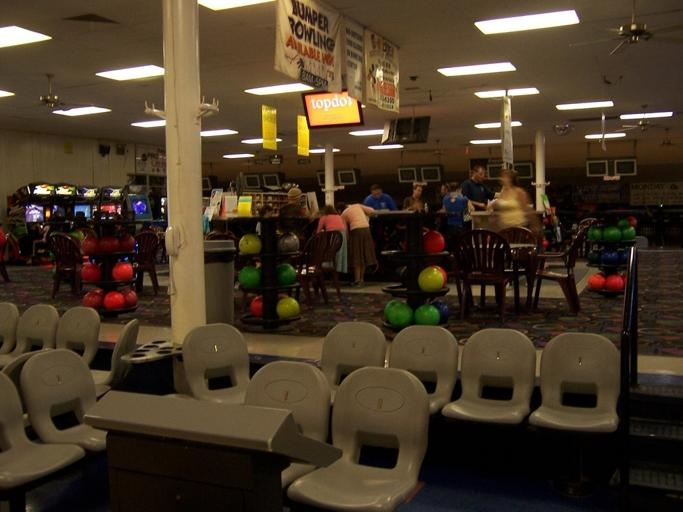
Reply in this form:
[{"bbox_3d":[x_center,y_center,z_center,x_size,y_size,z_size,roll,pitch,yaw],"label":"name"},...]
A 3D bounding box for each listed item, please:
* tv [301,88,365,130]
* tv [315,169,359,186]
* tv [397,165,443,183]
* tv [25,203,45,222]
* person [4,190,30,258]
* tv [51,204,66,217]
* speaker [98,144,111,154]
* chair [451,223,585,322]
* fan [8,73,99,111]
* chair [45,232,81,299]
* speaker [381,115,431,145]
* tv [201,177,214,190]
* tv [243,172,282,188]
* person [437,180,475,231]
[{"bbox_3d":[-0.156,-2.561,9.189,0.476,0.679,1.260,-10,12,-42],"label":"tv"},{"bbox_3d":[-0.127,-3.119,21.108,1.620,0.621,0.920,4,11,35],"label":"tv"},{"bbox_3d":[2.863,-3.051,19.657,1.500,0.583,0.849,-1,9,10],"label":"tv"},{"bbox_3d":[-8.085,-1.159,14.211,0.462,0.482,0.379,-5,9,-15],"label":"tv"},{"bbox_3d":[-8.728,-0.843,14.640,0.996,1.765,0.392,5,11,41],"label":"person"},{"bbox_3d":[-7.515,-1.231,14.341,0.366,0.394,0.208,-1,7,-16],"label":"tv"},{"bbox_3d":[-7.305,-3.338,16.721,0.366,0.345,0.257,-10,11,-39],"label":"speaker"},{"bbox_3d":[1.941,0.121,6.314,1.275,0.688,1.337,0,3,30],"label":"chair"},{"bbox_3d":[-5.602,-3.142,10.601,0.928,0.409,0.971,6,12,35],"label":"fan"},{"bbox_3d":[-4.509,0.109,8.831,0.488,1.000,0.824,-7,10,-29],"label":"chair"},{"bbox_3d":[1.446,-2.908,12.297,1.010,0.572,0.521,-2,9,1],"label":"speaker"},{"bbox_3d":[-5.513,-3.045,22.300,0.369,0.605,1.735,-4,9,-12],"label":"tv"},{"bbox_3d":[-3.126,-3.073,21.573,1.491,0.570,0.875,-1,9,8],"label":"tv"},{"bbox_3d":[2.059,-0.641,9.683,0.435,1.337,0.407,-4,-5,13],"label":"person"}]
